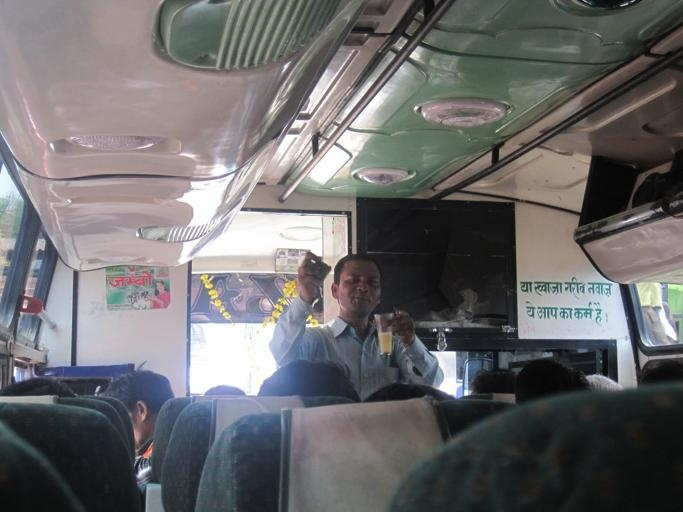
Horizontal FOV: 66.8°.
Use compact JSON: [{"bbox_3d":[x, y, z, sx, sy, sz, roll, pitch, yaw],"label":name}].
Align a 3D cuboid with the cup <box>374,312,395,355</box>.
[{"bbox_3d":[0.267,0.447,2.965,0.148,0.215,0.144,1,-15,0],"label":"cup"}]
